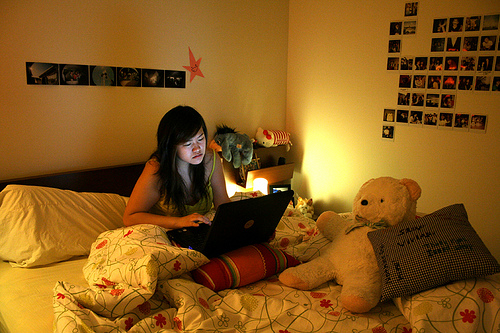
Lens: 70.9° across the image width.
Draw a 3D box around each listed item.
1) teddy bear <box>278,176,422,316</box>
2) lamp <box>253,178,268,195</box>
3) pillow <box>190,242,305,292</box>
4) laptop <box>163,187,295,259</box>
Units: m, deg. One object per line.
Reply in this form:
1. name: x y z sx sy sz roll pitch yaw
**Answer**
1. teddy bear: 0.625 0.417 2.239 0.707 0.892 0.864 13 -2 17
2. lamp: 0.111 0.204 3.849 0.152 0.187 0.154 -2 4 -24
3. pillow: -0.037 0.592 2.114 0.443 0.116 0.260 -10 19 -29
4. laptop: -0.125 0.194 2.200 0.538 0.346 0.497 -12 23 -36
